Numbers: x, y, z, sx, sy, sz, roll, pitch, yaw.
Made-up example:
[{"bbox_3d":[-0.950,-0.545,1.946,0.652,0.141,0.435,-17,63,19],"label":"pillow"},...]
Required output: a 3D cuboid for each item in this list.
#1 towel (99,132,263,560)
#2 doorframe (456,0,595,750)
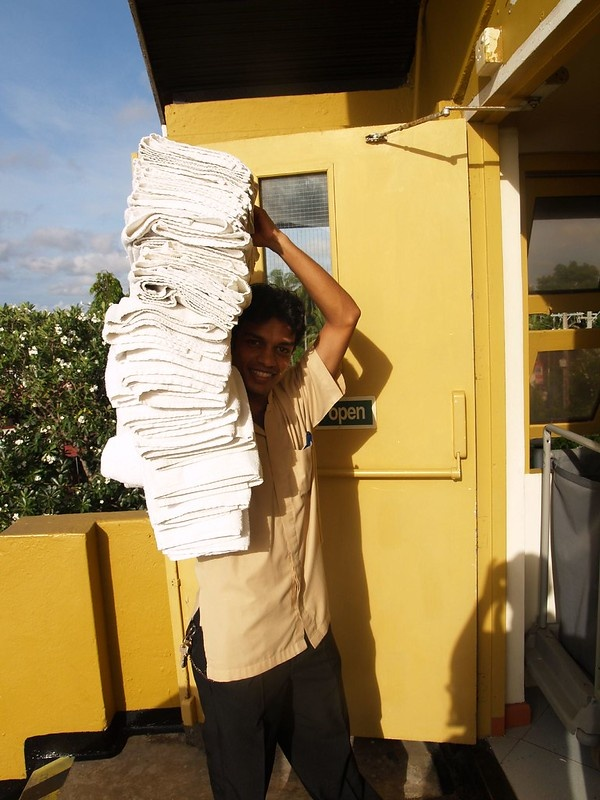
[{"bbox_3d":[-0.318,-0.159,1.912,0.432,1.170,0.249,-5,7,-2],"label":"towel"},{"bbox_3d":[0.809,0.102,2.669,0.387,2.587,0.859,-4,7,12],"label":"doorframe"}]
